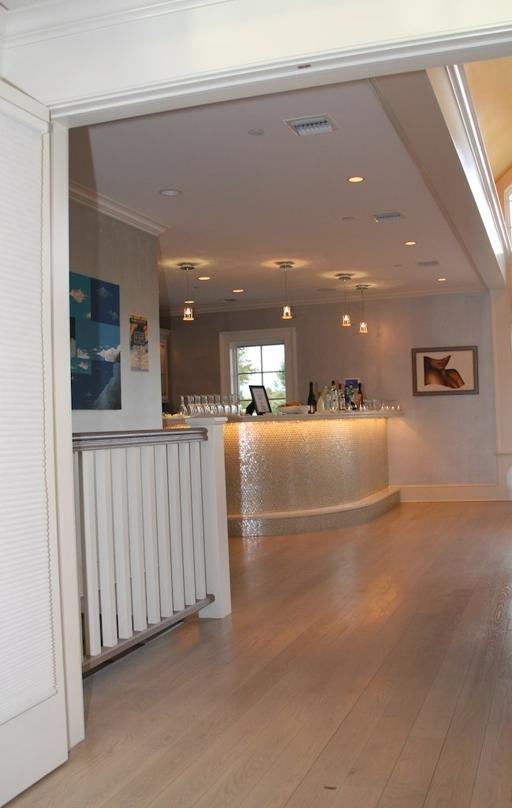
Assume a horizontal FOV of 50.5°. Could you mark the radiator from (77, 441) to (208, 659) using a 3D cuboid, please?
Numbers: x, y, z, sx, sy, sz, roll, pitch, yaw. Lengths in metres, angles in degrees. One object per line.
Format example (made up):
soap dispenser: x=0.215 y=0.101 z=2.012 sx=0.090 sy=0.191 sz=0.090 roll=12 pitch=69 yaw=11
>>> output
radiator: x=-0.511 y=0.640 z=2.366 sx=0.090 sy=0.801 sz=0.959 roll=-1 pitch=2 yaw=16

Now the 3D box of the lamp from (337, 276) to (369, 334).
lamp: x=1.350 y=-1.376 z=7.479 sx=0.214 sy=0.836 sz=0.568 roll=-2 pitch=-2 yaw=40

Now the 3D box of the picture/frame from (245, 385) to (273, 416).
picture/frame: x=0.010 y=-0.032 z=6.137 sx=0.272 sy=0.451 sz=0.364 roll=-2 pitch=0 yaw=34

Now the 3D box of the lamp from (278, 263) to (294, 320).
lamp: x=0.331 y=-1.253 z=6.080 sx=0.179 sy=0.607 sz=0.191 roll=0 pitch=8 yaw=16

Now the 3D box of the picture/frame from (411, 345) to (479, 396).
picture/frame: x=2.616 y=-0.456 z=7.407 sx=0.604 sy=0.560 sz=0.045 roll=0 pitch=0 yaw=13
